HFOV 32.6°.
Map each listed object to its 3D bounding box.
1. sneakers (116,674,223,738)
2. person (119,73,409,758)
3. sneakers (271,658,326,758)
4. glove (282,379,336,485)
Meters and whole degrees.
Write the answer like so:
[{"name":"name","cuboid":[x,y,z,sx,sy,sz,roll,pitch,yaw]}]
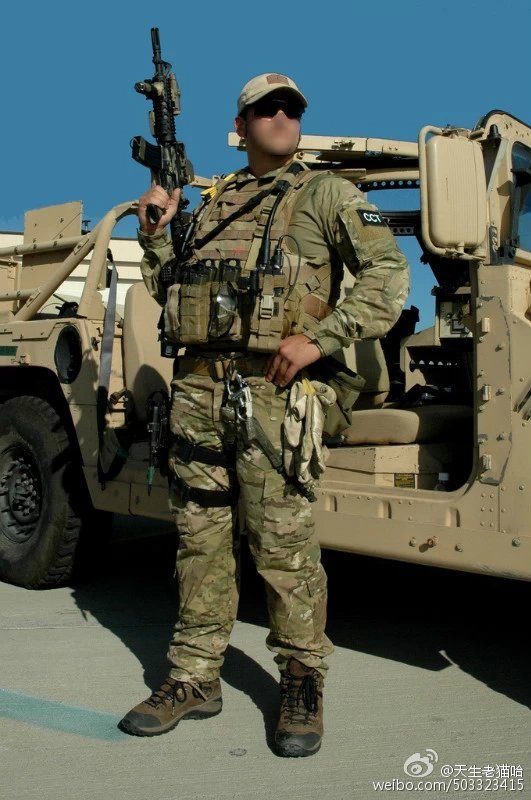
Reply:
[{"name":"sneakers","cuboid":[-0.253,0.825,2.502,0.320,0.134,0.109,0,4,-42]},{"name":"person","cuboid":[-0.006,0.008,2.492,0.791,1.779,0.458,0,1,10]},{"name":"sneakers","cuboid":[0.087,0.797,2.365,0.121,0.210,0.174,0,1,0]},{"name":"glove","cuboid":[0.101,0.082,2.320,0.093,0.228,0.221,9,-3,-3]}]
